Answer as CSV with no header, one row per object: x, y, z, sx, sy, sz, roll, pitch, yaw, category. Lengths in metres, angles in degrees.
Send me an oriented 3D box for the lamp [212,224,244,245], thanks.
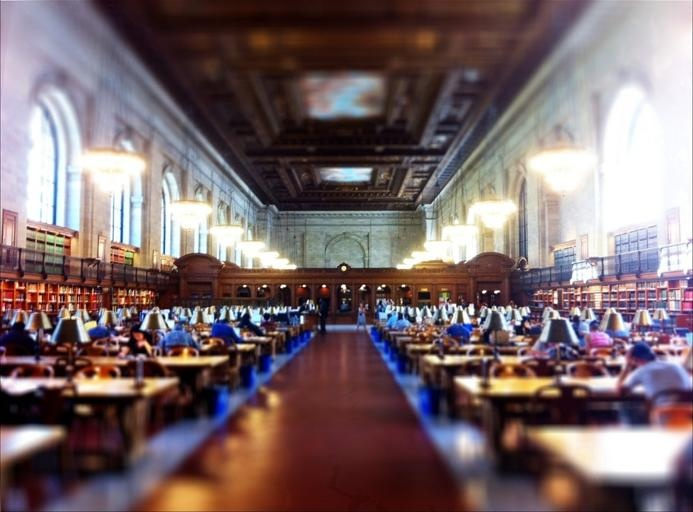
-5.530,-0.990,25.541,1.332,0.739,1.388,-7,-14,33,lamp

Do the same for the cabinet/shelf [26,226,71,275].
-9.816,-0.176,18.165,0.530,1.421,1.441,-4,-8,14,cabinet/shelf

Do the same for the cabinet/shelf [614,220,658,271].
9.459,0.075,18.027,0.320,1.447,1.226,18,-26,-42,cabinet/shelf

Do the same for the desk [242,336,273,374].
-2.008,2.227,12.715,0.661,0.754,0.710,0,-9,0,desk

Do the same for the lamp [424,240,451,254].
4.674,-0.420,28.434,1.100,0.762,3.007,-1,3,11,lamp

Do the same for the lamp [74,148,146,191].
-6.550,-2.414,15.531,1.554,1.062,0.975,-3,3,-28,lamp

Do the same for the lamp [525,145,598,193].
5.440,-2.197,14.035,1.332,0.968,0.895,-2,3,-5,lamp

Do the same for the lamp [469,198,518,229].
5.162,-1.505,19.474,1.204,0.879,1.183,0,3,28,lamp

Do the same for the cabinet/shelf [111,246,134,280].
-9.338,0.313,23.014,0.375,1.232,1.261,-3,-6,7,cabinet/shelf

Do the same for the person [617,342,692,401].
3.452,1.307,6.251,0.497,0.941,0.483,-4,-12,-33,person

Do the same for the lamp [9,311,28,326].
-6.848,1.300,11.598,0.342,0.267,0.363,-4,-7,43,lamp

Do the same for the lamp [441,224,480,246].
5.759,-1.022,27.459,1.706,0.747,1.783,4,-8,-20,lamp

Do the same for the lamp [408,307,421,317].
2.432,1.993,19.751,0.308,0.355,0.305,2,-4,-1,lamp

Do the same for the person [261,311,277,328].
-2.382,1.946,17.295,0.491,0.293,0.741,1,-14,-2,person

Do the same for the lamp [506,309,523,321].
4.504,1.565,14.777,0.397,0.403,0.426,0,-11,1,lamp

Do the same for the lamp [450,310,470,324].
2.014,1.098,9.984,0.355,0.240,0.353,6,-5,-40,lamp
